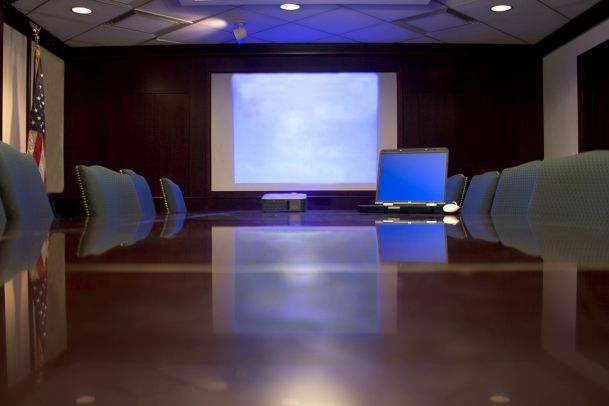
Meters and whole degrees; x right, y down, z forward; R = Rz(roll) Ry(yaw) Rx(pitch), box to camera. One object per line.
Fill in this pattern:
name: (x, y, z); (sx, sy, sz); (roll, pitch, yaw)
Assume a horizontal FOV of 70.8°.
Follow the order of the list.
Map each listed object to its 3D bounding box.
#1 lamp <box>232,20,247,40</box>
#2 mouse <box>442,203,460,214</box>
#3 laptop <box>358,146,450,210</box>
lamp: (-0.596, -1.501, 3.739); (0.086, 0.134, 0.131); (0, -91, -14)
mouse: (0.493, 0.016, 1.416); (0.048, 0.064, 0.035); (-3, -90, 12)
laptop: (0.402, -0.092, 1.670); (0.302, 0.254, 0.314); (0, -105, 23)
